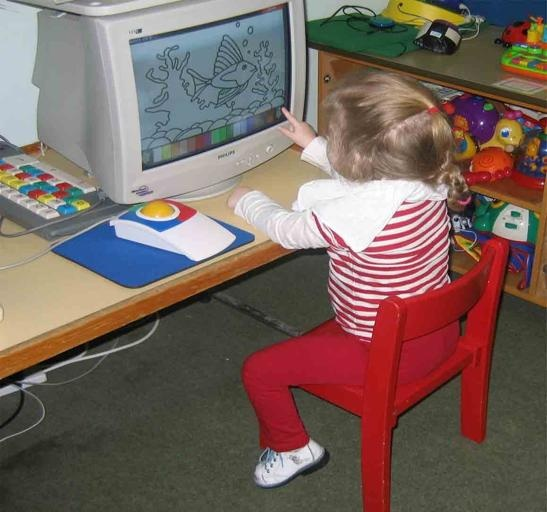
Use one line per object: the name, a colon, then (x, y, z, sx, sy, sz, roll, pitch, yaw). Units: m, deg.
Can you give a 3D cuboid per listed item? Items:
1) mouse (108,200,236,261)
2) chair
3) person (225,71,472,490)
mouse: (-0.190, -0.074, 0.974, 0.207, 0.059, 0.116, 18, 33, 19)
chair: (0.299, 0.313, 1.189, 0.433, 0.518, 0.450, -29, 43, -29)
person: (0.178, 0.082, 1.202, 0.538, 0.890, 0.492, 4, 22, 17)
